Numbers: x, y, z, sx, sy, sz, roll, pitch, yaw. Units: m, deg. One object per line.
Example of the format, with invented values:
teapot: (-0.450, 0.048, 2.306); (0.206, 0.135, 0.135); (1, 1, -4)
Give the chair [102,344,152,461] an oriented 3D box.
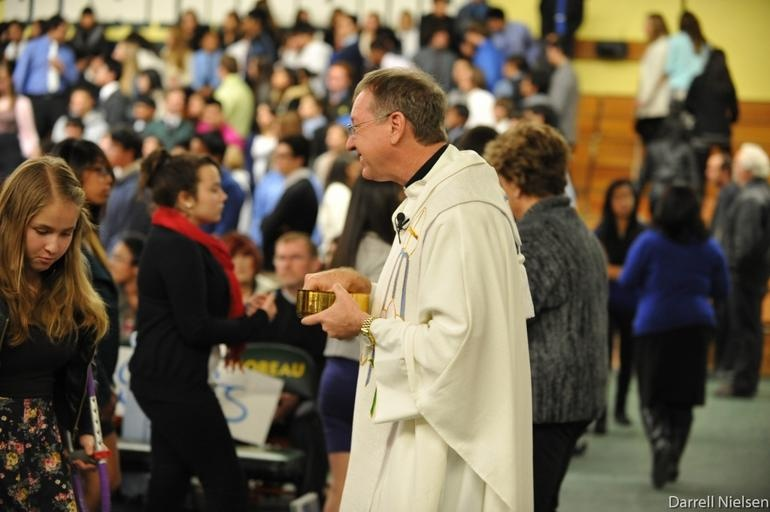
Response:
chair: (-1.873, 1.093, 6.665); (0.306, 0.457, 0.325); (2, -21, -40)
